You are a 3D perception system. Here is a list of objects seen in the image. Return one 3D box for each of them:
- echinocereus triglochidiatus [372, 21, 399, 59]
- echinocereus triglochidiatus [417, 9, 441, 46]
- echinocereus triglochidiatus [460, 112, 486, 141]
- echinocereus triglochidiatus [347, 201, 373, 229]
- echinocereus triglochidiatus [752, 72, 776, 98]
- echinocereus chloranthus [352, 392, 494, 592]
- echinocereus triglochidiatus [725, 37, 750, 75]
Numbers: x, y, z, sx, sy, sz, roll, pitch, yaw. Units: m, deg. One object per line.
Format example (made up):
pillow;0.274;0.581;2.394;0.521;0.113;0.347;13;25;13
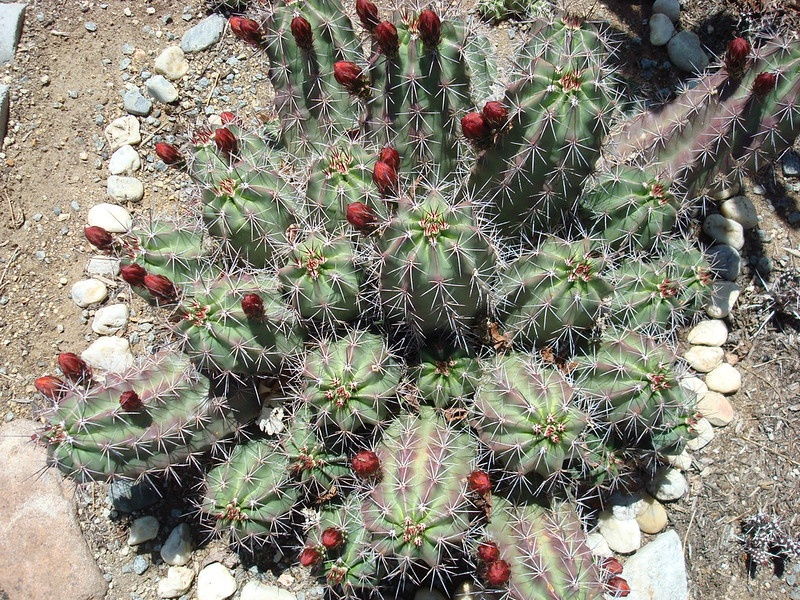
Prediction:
echinocereus triglochidiatus;-0.097;-2.145;6.965;0.189;0.263;0.251;-7;58;10
echinocereus triglochidiatus;0.243;-2.252;6.924;0.189;0.283;0.167;0;55;4
echinocereus triglochidiatus;0.586;-1.440;6.958;0.172;0.215;0.187;-46;41;-15
echinocereus triglochidiatus;-0.327;-0.655;6.870;0.165;0.216;0.179;-31;58;23
echinocereus triglochidiatus;3.070;-1.814;7.088;0.156;0.198;0.176;7;98;38
echinocereus chloranthus;0.180;1.574;6.944;0.814;0.513;1.395;-1;68;7
echinocereus triglochidiatus;2.891;-2.083;7.186;0.194;0.271;0.205;18;59;16
